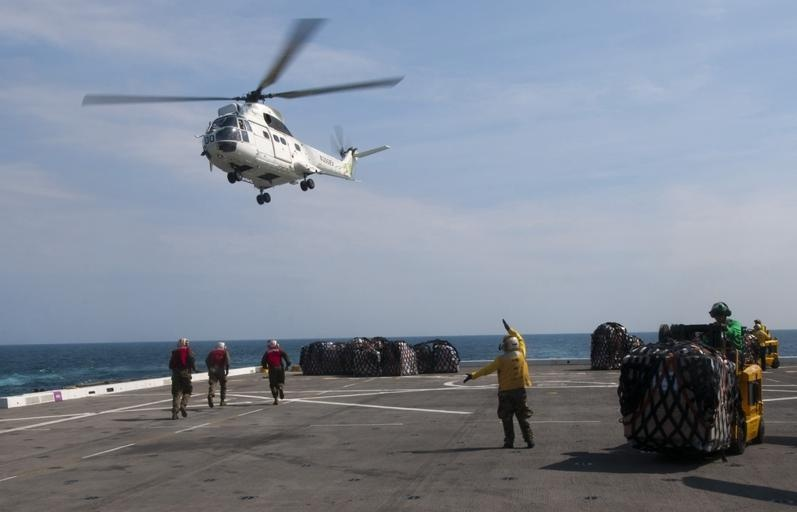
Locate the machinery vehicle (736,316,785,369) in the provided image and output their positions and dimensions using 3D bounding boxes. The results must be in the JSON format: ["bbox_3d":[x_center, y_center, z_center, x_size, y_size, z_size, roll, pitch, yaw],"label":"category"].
[{"bbox_3d":[15.736,4.195,34.478,1.916,1.791,3.256,-10,-8,30],"label":"machinery vehicle"}]

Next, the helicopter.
[{"bbox_3d":[-5.052,-4.633,32.498,9.437,3.782,11.491,-10,-14,25],"label":"helicopter"}]

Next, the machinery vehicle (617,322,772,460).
[{"bbox_3d":[6.399,2.899,16.892,2.945,2.809,1.509,1,-5,-33],"label":"machinery vehicle"}]

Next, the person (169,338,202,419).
[{"bbox_3d":[-6.493,3.639,23.503,0.736,2.263,1.258,-2,-5,-3],"label":"person"}]
